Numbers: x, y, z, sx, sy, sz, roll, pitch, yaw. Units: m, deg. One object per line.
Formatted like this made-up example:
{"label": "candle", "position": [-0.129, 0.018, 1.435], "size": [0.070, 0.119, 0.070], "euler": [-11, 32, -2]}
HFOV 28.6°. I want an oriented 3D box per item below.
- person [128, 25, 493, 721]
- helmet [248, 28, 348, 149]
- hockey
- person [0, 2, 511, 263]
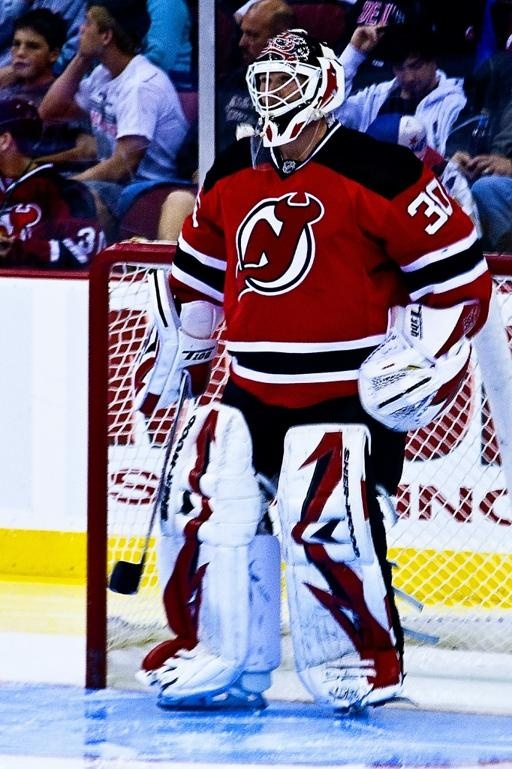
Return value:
{"label": "person", "position": [0.048, -0.007, 1.639], "size": [0.609, 1.097, 0.258], "euler": [3, 1, 32]}
{"label": "helmet", "position": [0.066, -0.463, 1.573], "size": [0.160, 0.173, 0.148], "euler": [-7, 14, -26]}
{"label": "hockey", "position": [-0.170, 0.178, 1.738], "size": [0.066, 0.380, 0.033], "euler": [6, -15, 40]}
{"label": "person", "position": [0.248, -0.714, 3.372], "size": [2.041, 0.573, 0.759], "euler": [3, 6, 8]}
